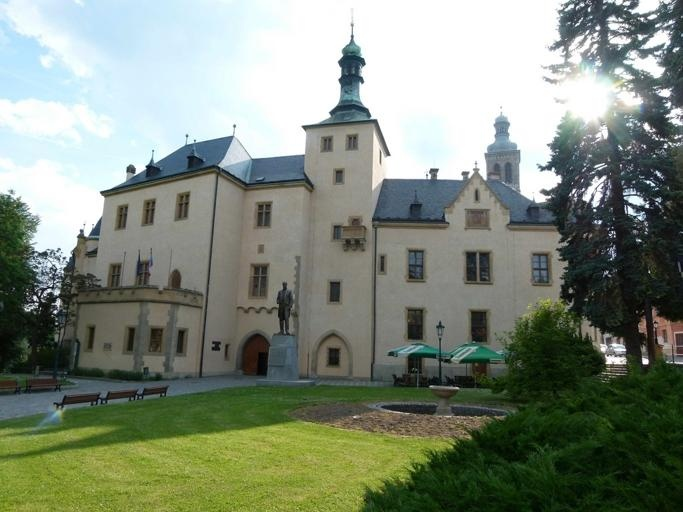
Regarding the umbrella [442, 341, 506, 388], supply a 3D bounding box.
[{"bbox_3d":[7.716,5.501,29.411,3.039,1.351,3.004,9,-13,-42],"label":"umbrella"}]
